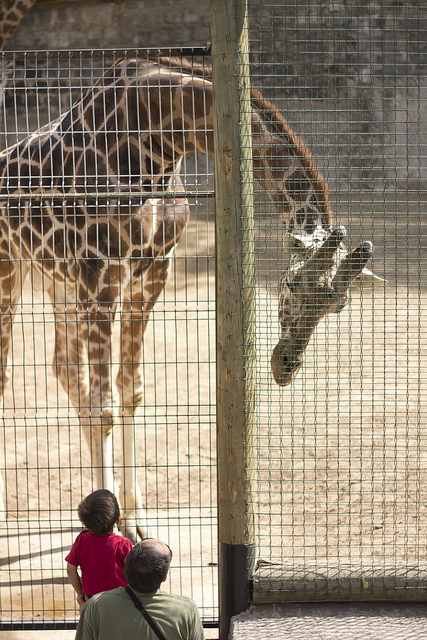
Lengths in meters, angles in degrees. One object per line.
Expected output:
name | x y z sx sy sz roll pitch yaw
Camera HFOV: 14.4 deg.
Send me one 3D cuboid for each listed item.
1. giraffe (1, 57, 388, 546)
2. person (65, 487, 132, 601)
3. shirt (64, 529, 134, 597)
giraffe | -0.296 -0.152 8.319 1.849 2.456 1.053 -6 -8 25
person | -0.513 1.128 7.535 0.278 0.830 0.258 2 19 -6
shirt | -0.494 1.069 7.405 0.335 0.369 0.134 -1 3 16
